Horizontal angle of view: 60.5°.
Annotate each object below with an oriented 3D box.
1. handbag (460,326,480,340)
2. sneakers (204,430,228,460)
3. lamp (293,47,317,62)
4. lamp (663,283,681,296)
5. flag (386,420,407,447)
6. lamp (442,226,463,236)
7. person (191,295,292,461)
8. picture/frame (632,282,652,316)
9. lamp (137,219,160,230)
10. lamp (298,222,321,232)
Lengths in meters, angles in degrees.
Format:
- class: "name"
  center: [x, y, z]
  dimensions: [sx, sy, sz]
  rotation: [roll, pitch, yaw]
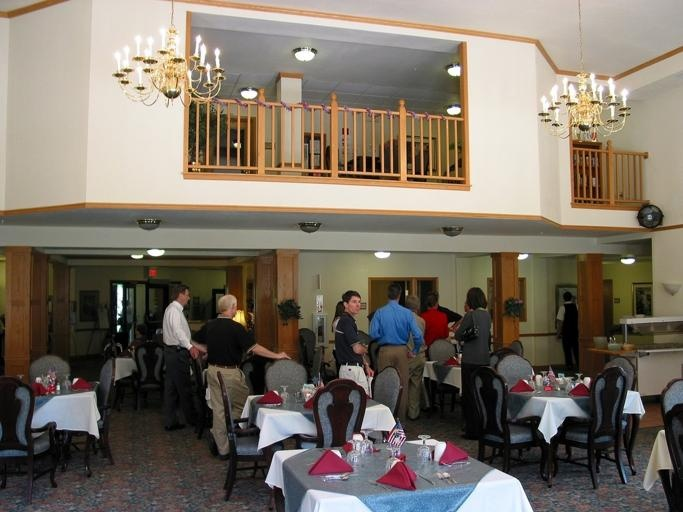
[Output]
- class: "handbag"
  center: [1.771, 1.056, 8.001]
  dimensions: [0.208, 0.082, 0.122]
  rotation: [-8, 3, -15]
- class: "sneakers"
  center: [-1.654, 2.489, 7.662]
  dimensions: [0.195, 0.245, 0.600]
  rotation: [15, 14, -24]
- class: "lamp"
  center: [-0.626, -3.429, 10.055]
  dimensions: [0.423, 0.173, 0.566]
  rotation: [-1, 1, -1]
- class: "lamp"
  center: [6.304, 0.638, 11.164]
  dimensions: [0.217, 0.154, 0.205]
  rotation: [1, -3, -2]
- class: "flag"
  center: [0.466, 1.557, 5.037]
  dimensions: [0.134, 0.229, 0.301]
  rotation: [0, 2, 4]
- class: "lamp"
  center: [1.952, -0.450, 10.357]
  dimensions: [0.333, 0.150, 0.406]
  rotation: [-1, 1, -1]
- class: "person"
  center: [-1.319, 1.660, 7.896]
  dimensions: [1.532, 2.554, 0.814]
  rotation: [10, 18, 23]
- class: "picture/frame"
  center: [8.134, 1.183, 15.825]
  dimensions: [0.472, 0.913, 0.031]
  rotation: [-3, -18, 33]
- class: "lamp"
  center: [-2.979, -0.499, 9.068]
  dimensions: [0.215, 0.106, 0.222]
  rotation: [-2, -4, 29]
- class: "lamp"
  center: [-0.533, -0.486, 9.796]
  dimensions: [0.338, 0.171, 0.475]
  rotation: [-1, 1, -9]
